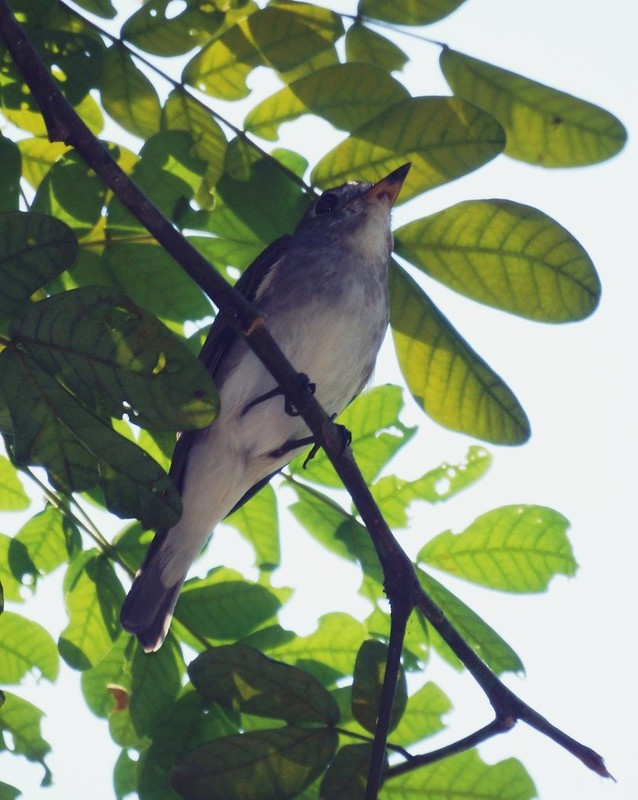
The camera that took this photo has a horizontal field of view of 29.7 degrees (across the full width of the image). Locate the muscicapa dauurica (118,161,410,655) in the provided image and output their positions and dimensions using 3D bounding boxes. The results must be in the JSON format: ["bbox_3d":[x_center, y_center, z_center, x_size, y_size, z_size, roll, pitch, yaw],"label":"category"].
[{"bbox_3d":[-0.211,0.008,3.739,0.523,0.672,1.539,26,-63,-38],"label":"muscicapa dauurica"}]
